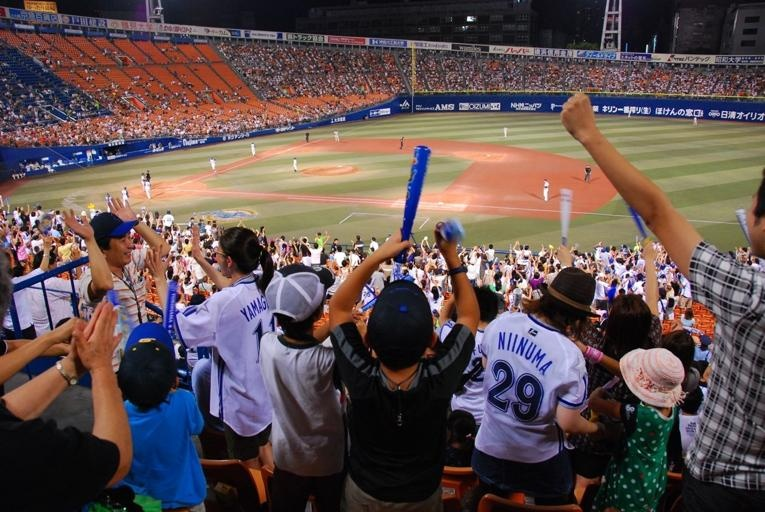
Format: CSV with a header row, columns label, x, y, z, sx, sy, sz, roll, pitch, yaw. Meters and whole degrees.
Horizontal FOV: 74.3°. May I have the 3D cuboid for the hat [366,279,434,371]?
label,x,y,z,sx,sy,sz,roll,pitch,yaw
hat,0.118,0.515,3.720,0.450,0.639,0.327,5,-12,2

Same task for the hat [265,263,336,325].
label,x,y,z,sx,sy,sz,roll,pitch,yaw
hat,-0.755,0.231,4.530,0.485,0.363,0.700,13,39,24

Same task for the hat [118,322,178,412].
label,x,y,z,sx,sy,sz,roll,pitch,yaw
hat,-2.098,0.978,4.632,0.472,0.388,0.730,0,43,-13

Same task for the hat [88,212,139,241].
label,x,y,z,sx,sy,sz,roll,pitch,yaw
hat,-3.240,-0.361,6.042,0.469,0.252,0.303,-17,15,4
